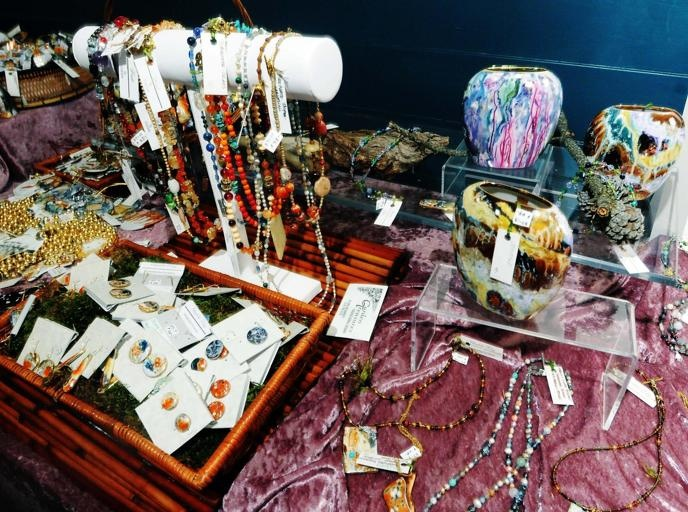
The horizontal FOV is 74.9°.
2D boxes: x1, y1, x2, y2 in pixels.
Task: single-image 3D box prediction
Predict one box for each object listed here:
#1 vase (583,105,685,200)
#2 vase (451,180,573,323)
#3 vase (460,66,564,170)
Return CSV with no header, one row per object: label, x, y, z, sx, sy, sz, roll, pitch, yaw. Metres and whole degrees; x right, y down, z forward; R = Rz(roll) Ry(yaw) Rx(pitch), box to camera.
vase,1.212,-0.431,1.973,0.340,0.408,0.368,2,10,15
vase,0.528,0.006,1.439,0.260,0.366,0.364,-23,39,-34
vase,0.787,-0.653,2.136,0.429,0.451,0.476,0,25,2
